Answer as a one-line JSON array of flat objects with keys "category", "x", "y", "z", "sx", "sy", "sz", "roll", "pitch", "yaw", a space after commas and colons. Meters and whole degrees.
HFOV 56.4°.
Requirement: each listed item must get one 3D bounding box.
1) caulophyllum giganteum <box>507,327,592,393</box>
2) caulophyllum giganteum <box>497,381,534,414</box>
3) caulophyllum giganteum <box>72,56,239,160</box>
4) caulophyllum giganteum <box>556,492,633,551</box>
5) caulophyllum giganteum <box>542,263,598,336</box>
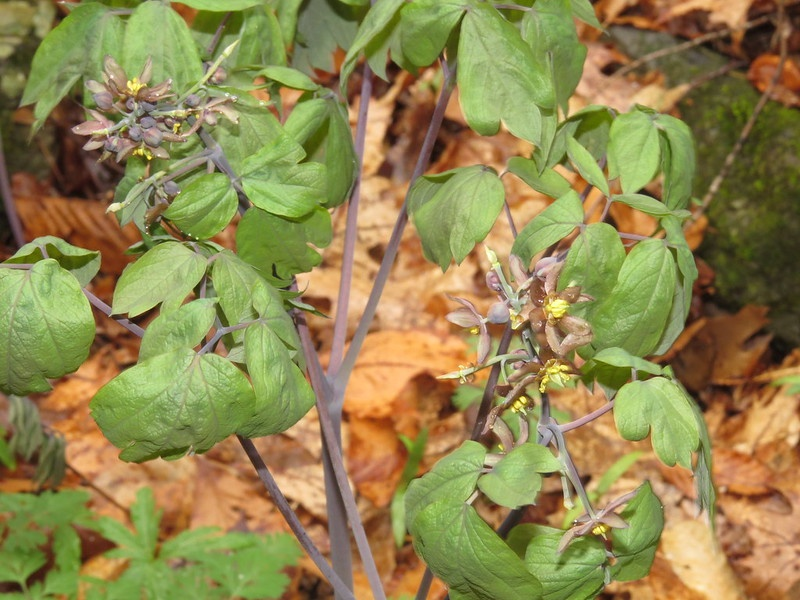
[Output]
[{"category": "caulophyllum giganteum", "x": 0.392, "y": 0.106, "z": 1.946, "sx": 0.114, "sy": 0.186, "sz": 0.185, "roll": 21, "pitch": 50, "yaw": -15}, {"category": "caulophyllum giganteum", "x": 0.308, "y": 0.258, "z": 1.965, "sx": 0.071, "sy": 0.086, "sz": 0.034, "roll": -44, "pitch": 85, "yaw": -12}, {"category": "caulophyllum giganteum", "x": -0.641, "y": -0.471, "z": 1.949, "sx": 0.394, "sy": 0.223, "sz": 0.258, "roll": -21, "pitch": 51, "yaw": 9}, {"category": "caulophyllum giganteum", "x": 0.507, "y": 0.548, "z": 1.923, "sx": 0.218, "sy": 0.229, "sz": 0.087, "roll": -20, "pitch": 93, "yaw": 14}, {"category": "caulophyllum giganteum", "x": 0.428, "y": 0.017, "z": 1.935, "sx": 0.128, "sy": 0.174, "sz": 0.173, "roll": 6, "pitch": 52, "yaw": -3}]
